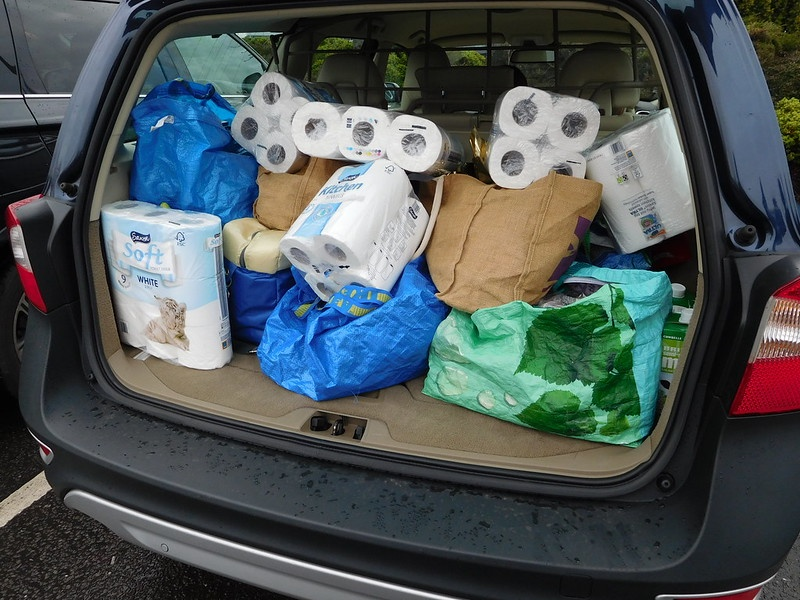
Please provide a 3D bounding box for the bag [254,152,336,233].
[{"bbox_3d":[-0.408,-0.448,2.734,0.303,0.122,0.339,32,86,31],"label":"bag"}]

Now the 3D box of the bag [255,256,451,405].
[{"bbox_3d":[-0.186,0.128,2.519,0.927,0.713,0.366,18,83,6],"label":"bag"}]

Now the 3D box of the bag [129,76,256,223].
[{"bbox_3d":[-0.836,-0.660,2.858,0.627,0.613,0.599,1,15,-6],"label":"bag"}]

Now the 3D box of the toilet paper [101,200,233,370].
[{"bbox_3d":[-0.860,-0.033,2.284,0.567,0.619,0.225,4,19,17],"label":"toilet paper"}]

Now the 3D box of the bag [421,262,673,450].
[{"bbox_3d":[0.469,0.195,2.048,0.621,0.213,0.639,4,52,28],"label":"bag"}]
